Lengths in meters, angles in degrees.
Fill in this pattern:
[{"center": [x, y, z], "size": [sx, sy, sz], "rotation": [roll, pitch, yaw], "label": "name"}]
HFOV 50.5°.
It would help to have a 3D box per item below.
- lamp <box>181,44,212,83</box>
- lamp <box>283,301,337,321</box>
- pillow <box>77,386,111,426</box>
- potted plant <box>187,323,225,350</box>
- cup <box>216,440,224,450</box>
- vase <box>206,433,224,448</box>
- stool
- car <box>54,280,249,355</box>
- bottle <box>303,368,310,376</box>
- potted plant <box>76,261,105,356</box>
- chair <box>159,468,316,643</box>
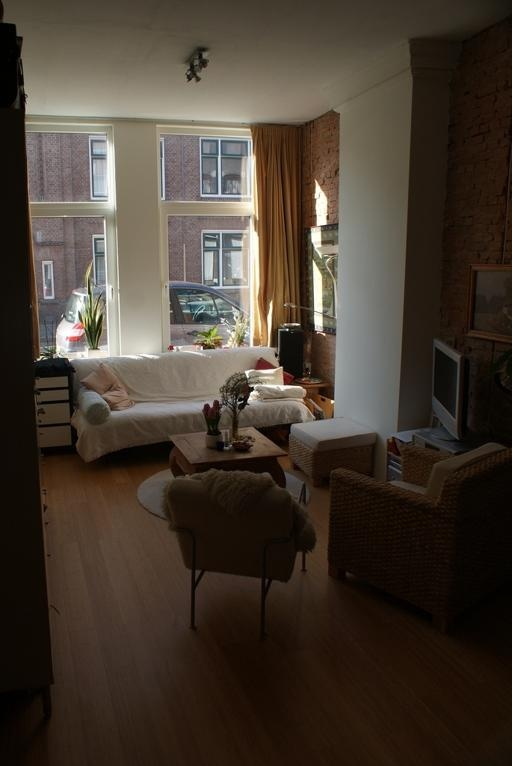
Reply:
[{"center": [-0.401, -2.159, 3.649], "size": [0.156, 0.134, 0.272], "rotation": [4, -34, -13], "label": "lamp"}, {"center": [0.570, -0.759, 5.684], "size": [0.307, 0.100, 0.314], "rotation": [18, 10, 36], "label": "lamp"}, {"center": [-1.410, 0.209, 4.693], "size": [0.213, 0.234, 0.578], "rotation": [-2, 6, -25], "label": "pillow"}, {"center": [-0.520, -0.529, 5.957], "size": [0.233, 0.230, 0.278], "rotation": [3, 5, 21], "label": "potted plant"}, {"center": [-0.248, 0.426, 3.745], "size": [0.052, 0.063, 0.048], "rotation": [0, 5, 0], "label": "cup"}, {"center": [-0.287, 0.400, 3.769], "size": [0.092, 0.097, 0.098], "rotation": [0, 1, 32], "label": "vase"}, {"center": [0.620, 0.460, 4.335], "size": [0.456, 0.369, 0.496], "rotation": [-6, 14, -25], "label": "stool"}, {"center": [-1.117, -0.927, 5.797], "size": [1.438, 0.805, 0.831], "rotation": [-12, 17, -30], "label": "car"}, {"center": [0.521, -0.116, 5.631], "size": [0.064, 0.151, 0.072], "rotation": [0, 4, -7], "label": "bottle"}, {"center": [-1.675, -0.777, 5.554], "size": [0.255, 0.899, 0.169], "rotation": [-1, 5, -18], "label": "potted plant"}, {"center": [-0.054, 0.527, 2.284], "size": [0.534, 0.659, 0.650], "rotation": [4, 10, 8], "label": "chair"}]
